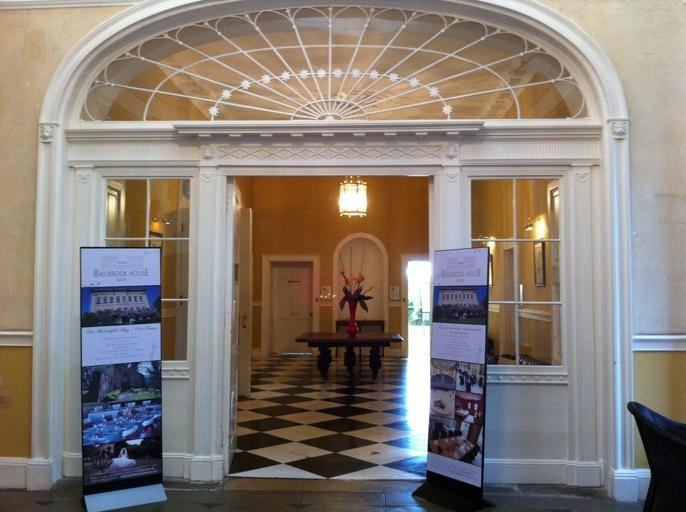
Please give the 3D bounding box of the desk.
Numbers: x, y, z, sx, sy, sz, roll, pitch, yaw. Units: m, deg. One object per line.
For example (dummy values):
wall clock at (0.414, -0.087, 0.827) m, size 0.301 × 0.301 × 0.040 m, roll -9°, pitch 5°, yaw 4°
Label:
desk at (0.092, 1.654, 9.925) m, size 1.524 × 0.771 × 1.907 m, roll -1°, pitch -3°, yaw 0°

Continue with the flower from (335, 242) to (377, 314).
flower at (0.220, 0.586, 11.441) m, size 0.524 × 1.001 × 0.631 m, roll 7°, pitch -11°, yaw -39°

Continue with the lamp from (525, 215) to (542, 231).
lamp at (1.708, -0.297, 5.498) m, size 0.183 × 0.129 × 0.095 m, roll 2°, pitch -2°, yaw -2°

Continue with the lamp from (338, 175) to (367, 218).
lamp at (0.185, -1.037, 10.288) m, size 0.412 × 0.675 × 0.482 m, roll -1°, pitch -4°, yaw 10°

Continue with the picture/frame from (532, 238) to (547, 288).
picture/frame at (1.736, 0.083, 5.413) m, size 0.126 × 0.281 × 0.023 m, roll 0°, pitch -6°, yaw -20°

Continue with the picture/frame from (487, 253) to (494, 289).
picture/frame at (1.321, 0.134, 5.422) m, size 0.046 × 0.310 × 0.029 m, roll -1°, pitch -4°, yaw 2°
